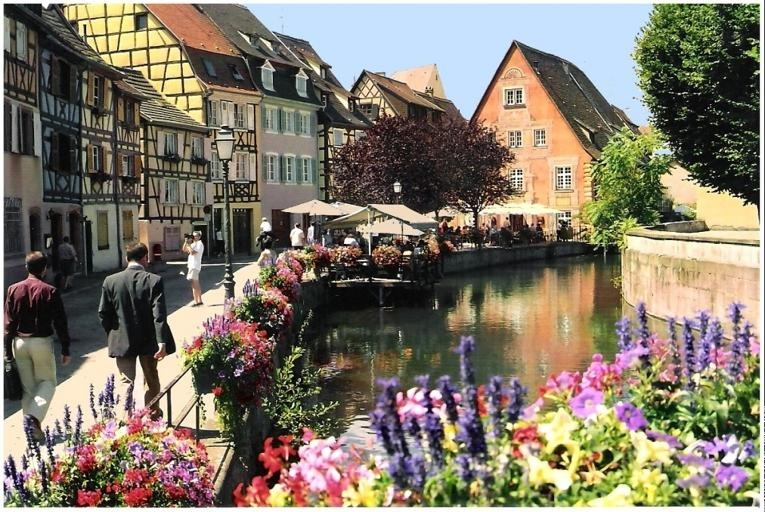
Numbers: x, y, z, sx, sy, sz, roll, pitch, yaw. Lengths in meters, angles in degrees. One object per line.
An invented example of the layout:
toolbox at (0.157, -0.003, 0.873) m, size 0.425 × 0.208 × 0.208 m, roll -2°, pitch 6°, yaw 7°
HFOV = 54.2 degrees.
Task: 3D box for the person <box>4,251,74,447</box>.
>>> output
person at (-3.840, 1.009, 8.279) m, size 0.688 × 2.091 × 0.563 m, roll 1°, pitch 3°, yaw 40°

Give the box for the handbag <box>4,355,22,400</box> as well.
handbag at (-4.073, 1.378, 8.225) m, size 0.177 × 0.460 × 0.250 m, roll -2°, pitch 3°, yaw -28°

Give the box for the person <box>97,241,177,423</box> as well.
person at (-2.864, 0.825, 8.711) m, size 0.960 × 1.928 × 0.539 m, roll 1°, pitch 3°, yaw 33°
